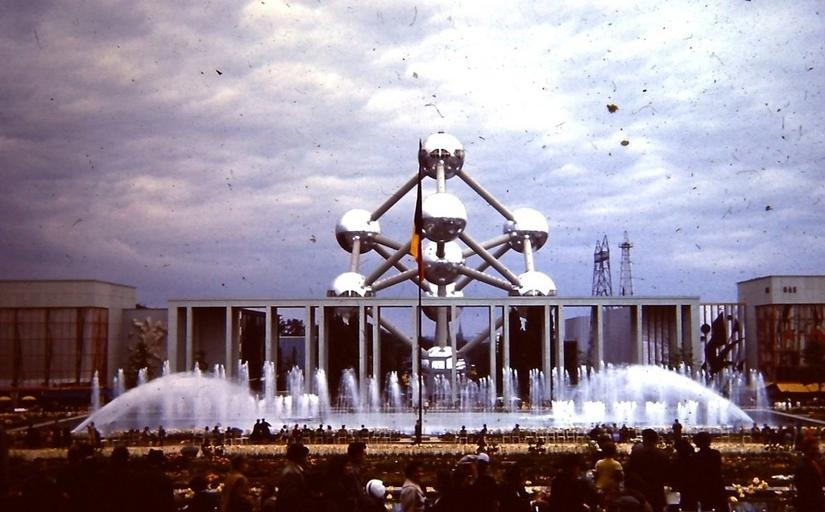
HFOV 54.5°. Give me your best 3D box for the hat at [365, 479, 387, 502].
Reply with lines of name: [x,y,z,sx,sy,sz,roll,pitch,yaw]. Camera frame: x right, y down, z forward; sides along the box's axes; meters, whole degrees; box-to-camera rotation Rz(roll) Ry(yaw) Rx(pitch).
hat: [-1.196,7.671,26.191,0.610,0.616,0.677,1,-8,-10]
